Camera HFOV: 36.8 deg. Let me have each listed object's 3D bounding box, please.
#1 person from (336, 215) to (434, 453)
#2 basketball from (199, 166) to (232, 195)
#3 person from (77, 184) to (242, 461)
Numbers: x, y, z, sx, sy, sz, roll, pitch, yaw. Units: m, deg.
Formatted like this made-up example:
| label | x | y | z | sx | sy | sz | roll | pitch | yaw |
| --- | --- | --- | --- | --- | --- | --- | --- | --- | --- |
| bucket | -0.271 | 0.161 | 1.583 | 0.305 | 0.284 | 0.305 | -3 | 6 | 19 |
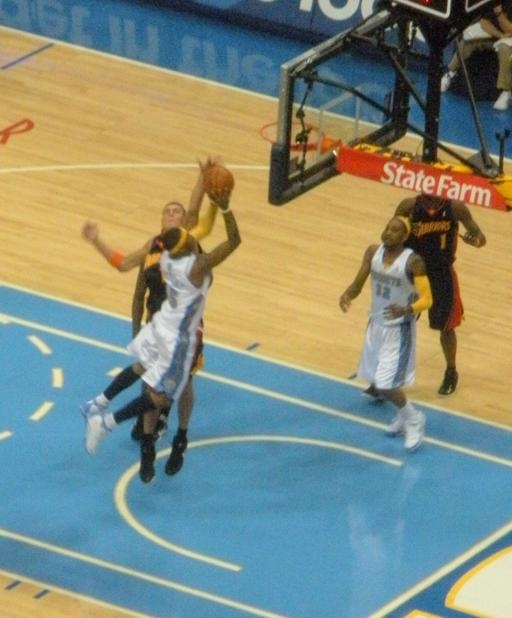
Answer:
| label | x | y | z | sx | sy | sz | roll | pitch | yaw |
| --- | --- | --- | --- | --- | --- | --- | --- | --- | --- |
| person | 1.002 | 0.197 | 5.625 | 0.685 | 1.735 | 0.693 | 4 | 13 | -14 |
| basketball | -0.226 | -0.752 | 4.483 | 0.164 | 0.118 | 0.213 | 2 | 15 | 1 |
| person | -0.567 | 0.166 | 4.903 | 0.515 | 1.853 | 0.871 | -6 | 17 | -44 |
